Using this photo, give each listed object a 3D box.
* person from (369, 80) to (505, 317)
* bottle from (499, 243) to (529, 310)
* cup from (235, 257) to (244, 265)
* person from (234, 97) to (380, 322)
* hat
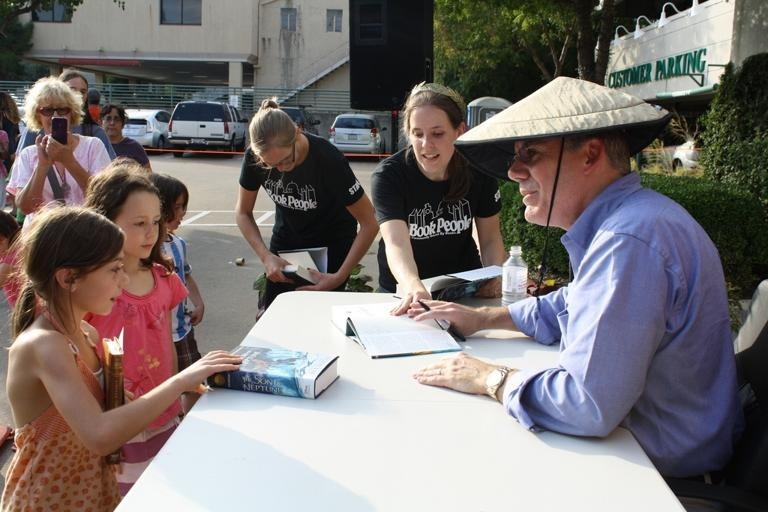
[{"bbox_3d":[0.372,-0.365,4.213,0.585,1.583,0.769,-1,3,-14],"label":"person"},{"bbox_3d":[0.752,0.114,3.837,0.126,0.360,0.144,1,2,-25],"label":"bottle"},{"bbox_3d":[-1.824,0.073,8.428,0.101,0.110,0.084,0,-5,10],"label":"cup"},{"bbox_3d":[-0.568,-0.393,4.822,0.776,1.809,0.856,0,3,-14],"label":"person"},{"bbox_3d":[0.721,-0.569,2.915,0.709,0.301,0.586,-8,-2,11],"label":"hat"}]
